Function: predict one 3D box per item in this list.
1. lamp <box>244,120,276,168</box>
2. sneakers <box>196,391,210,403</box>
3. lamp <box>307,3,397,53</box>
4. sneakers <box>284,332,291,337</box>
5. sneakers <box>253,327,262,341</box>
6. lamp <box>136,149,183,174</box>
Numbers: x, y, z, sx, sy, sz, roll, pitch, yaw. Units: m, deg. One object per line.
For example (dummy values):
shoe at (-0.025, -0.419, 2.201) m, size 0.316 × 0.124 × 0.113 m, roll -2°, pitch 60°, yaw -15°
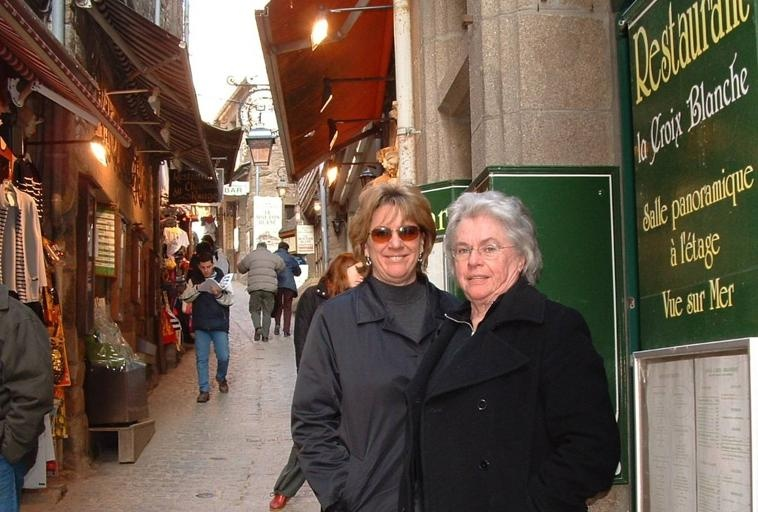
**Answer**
lamp at (-3.324, -3.189, 21.808) m, size 0.737 × 1.146 × 1.100 m, roll 1°, pitch -7°, yaw -11°
sneakers at (-2.540, 2.029, 11.323) m, size 0.167 × 0.157 × 0.264 m, roll 1°, pitch -8°, yaw -13°
lamp at (-0.384, -3.036, 10.160) m, size 1.073 × 0.330 × 0.661 m, roll -6°, pitch 6°, yaw -14°
sneakers at (-2.138, 1.832, 18.294) m, size 0.058 × 0.126 × 0.160 m, roll 10°, pitch 13°, yaw 36°
sneakers at (-2.650, 1.742, 17.146) m, size 0.113 × 0.310 × 0.124 m, roll 6°, pitch 28°, yaw -24°
lamp at (-4.258, -1.822, 15.072) m, size 0.497 × 0.212 × 0.801 m, roll 0°, pitch 1°, yaw 7°
